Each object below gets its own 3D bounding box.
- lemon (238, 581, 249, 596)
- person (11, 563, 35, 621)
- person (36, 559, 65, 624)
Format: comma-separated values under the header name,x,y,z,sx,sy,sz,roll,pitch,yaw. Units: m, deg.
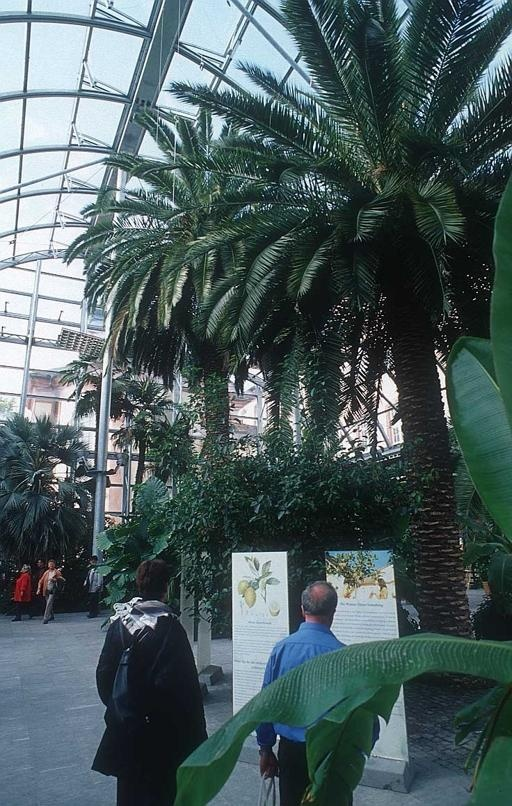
name,x,y,z,sx,sy,sz,roll,pitch,yaw
lemon,-0.095,1.398,4.194,0.079,0.114,0.081,19,-4,-2
person,-6.166,5.046,14.718,0.443,1.519,2.109,5,-12,-21
person,-5.461,4.939,14.564,0.596,1.559,2.139,5,-12,-20
